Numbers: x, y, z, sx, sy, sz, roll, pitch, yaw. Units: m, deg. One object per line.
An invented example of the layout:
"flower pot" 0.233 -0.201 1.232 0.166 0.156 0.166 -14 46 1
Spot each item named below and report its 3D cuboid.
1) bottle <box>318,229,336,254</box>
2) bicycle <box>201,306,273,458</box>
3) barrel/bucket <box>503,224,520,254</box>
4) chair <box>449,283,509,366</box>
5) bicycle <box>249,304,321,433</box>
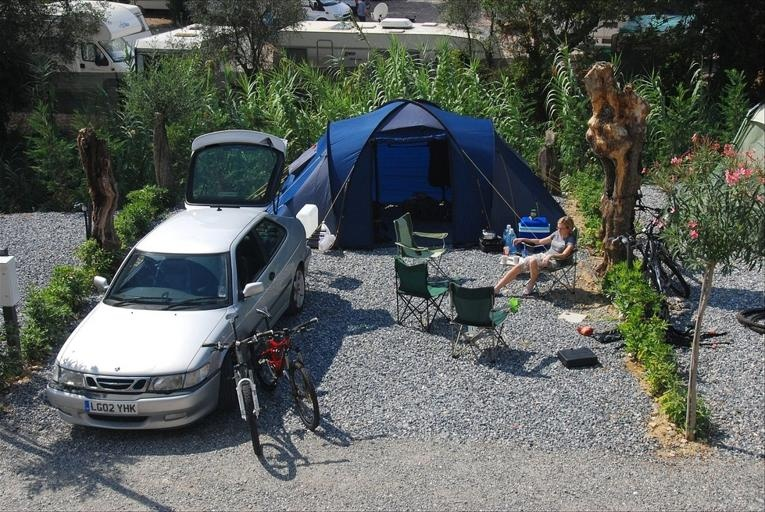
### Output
"bottle" -1.182 -0.305 14.380 0.281 0.464 0.158 7 9 3
"bicycle" -1.929 1.591 9.352 0.735 1.506 1.638 -7 26 -11
"barrel/bucket" 2.597 -0.319 13.878 0.312 0.755 0.314 -6 22 2
"chair" 1.520 0.895 10.989 1.068 1.545 1.078 3 20 15
"bicycle" -1.330 1.512 9.778 0.806 1.041 1.692 -12 26 -26
